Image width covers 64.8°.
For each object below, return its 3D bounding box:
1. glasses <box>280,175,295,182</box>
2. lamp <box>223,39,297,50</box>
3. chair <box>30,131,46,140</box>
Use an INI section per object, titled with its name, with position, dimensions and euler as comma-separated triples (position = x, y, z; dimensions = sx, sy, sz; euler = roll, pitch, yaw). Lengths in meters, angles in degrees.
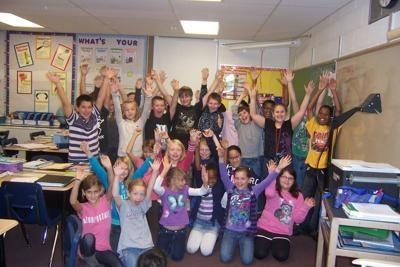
[glasses]
position = 1.071, 0.529, 3.824
dimensions = 0.176, 0.080, 0.049
euler = 5, 8, 1
[lamp]
position = 1.170, -1.712, 6.110
dimensions = 1.504, 0.170, 0.271
euler = 9, 9, 30
[chair]
position = -2.993, 0.013, 5.805
dimensions = 0.180, 0.217, 0.170
euler = 2, 10, 37
